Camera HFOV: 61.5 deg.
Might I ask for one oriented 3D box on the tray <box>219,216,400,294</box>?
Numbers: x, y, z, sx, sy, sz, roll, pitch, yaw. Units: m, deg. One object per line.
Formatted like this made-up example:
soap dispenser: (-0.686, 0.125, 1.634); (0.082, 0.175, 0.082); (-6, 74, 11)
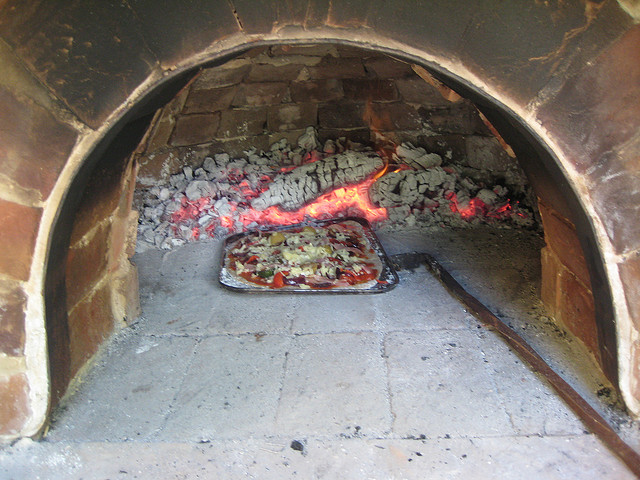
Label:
tray: (-0.092, 0.102, 3.089); (0.775, 0.076, 0.592); (-3, 24, -3)
